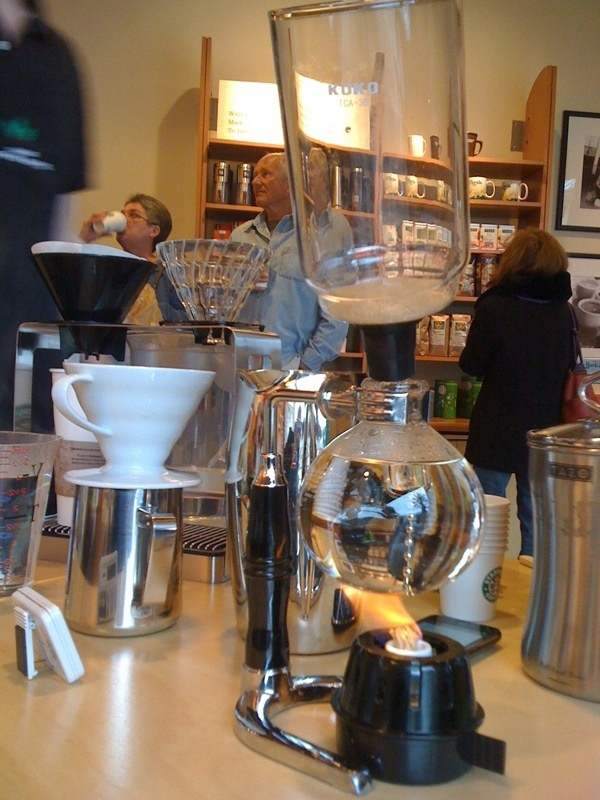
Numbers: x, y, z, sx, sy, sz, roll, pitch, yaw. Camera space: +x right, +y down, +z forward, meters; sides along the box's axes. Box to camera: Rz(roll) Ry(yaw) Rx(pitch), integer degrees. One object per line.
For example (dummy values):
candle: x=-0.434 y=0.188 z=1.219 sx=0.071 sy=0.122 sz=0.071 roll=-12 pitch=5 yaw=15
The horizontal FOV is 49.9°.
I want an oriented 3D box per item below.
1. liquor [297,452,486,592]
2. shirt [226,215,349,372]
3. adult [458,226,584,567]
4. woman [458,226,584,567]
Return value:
liquor: x=0.047 y=0.058 z=0.297 sx=0.071 sy=0.050 sz=0.072 roll=4 pitch=-18 yaw=-2
shirt: x=-0.050 y=-0.377 z=2.109 sx=0.304 sy=0.568 sz=0.692 roll=2 pitch=-1 yaw=-18
adult: x=0.738 y=-0.015 z=2.186 sx=0.316 sy=1.108 sz=0.321 roll=3 pitch=-2 yaw=-45
woman: x=0.736 y=-0.015 z=2.186 sx=0.322 sy=1.108 sz=0.312 roll=0 pitch=-2 yaw=44
